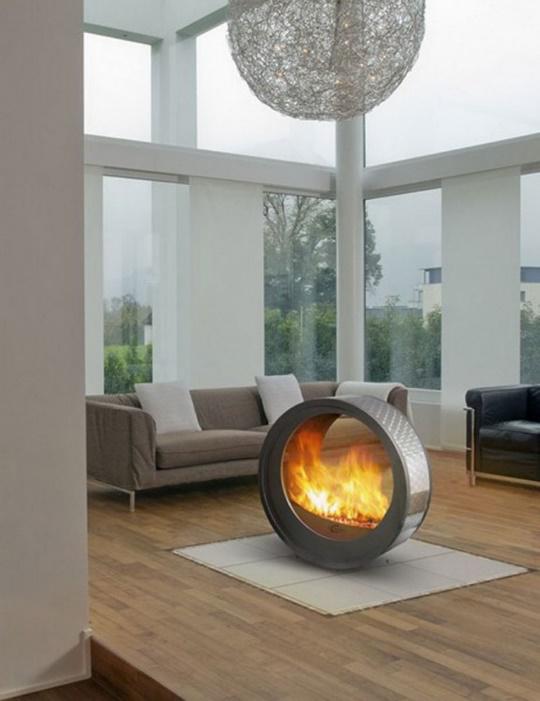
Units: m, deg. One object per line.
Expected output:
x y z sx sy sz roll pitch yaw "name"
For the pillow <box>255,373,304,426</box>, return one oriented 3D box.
0.077 0.426 5.470 0.139 0.426 0.470 -20 -6 30 "pillow"
